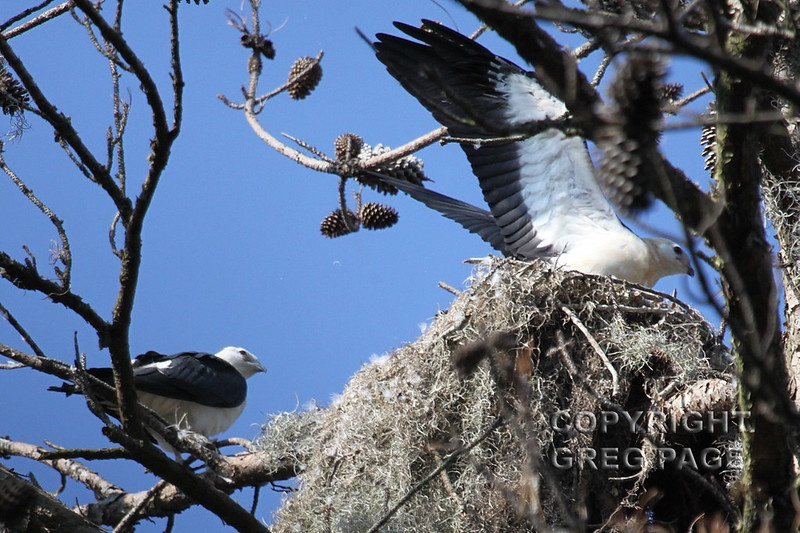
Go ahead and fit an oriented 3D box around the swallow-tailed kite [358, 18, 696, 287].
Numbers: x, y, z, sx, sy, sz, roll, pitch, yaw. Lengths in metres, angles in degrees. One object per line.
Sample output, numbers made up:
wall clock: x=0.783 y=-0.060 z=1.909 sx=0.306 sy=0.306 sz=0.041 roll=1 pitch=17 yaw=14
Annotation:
swallow-tailed kite: x=0.691 y=-0.328 z=7.662 sx=1.221 sy=0.697 sz=1.752 roll=9 pitch=-35 yaw=20
